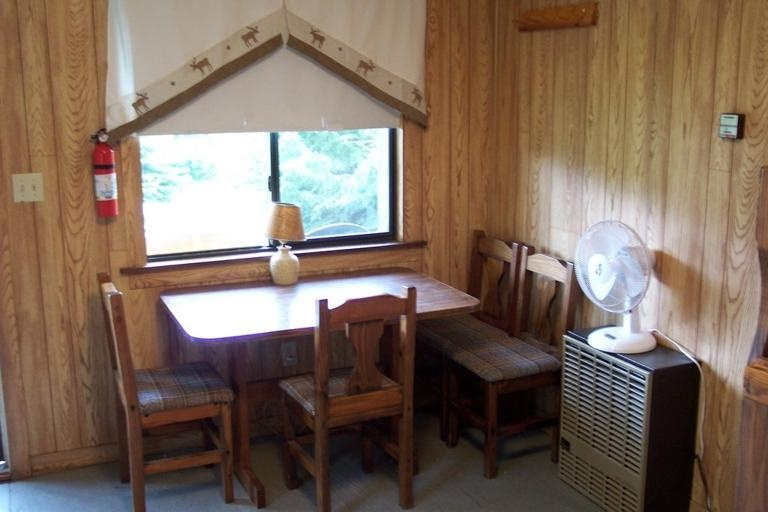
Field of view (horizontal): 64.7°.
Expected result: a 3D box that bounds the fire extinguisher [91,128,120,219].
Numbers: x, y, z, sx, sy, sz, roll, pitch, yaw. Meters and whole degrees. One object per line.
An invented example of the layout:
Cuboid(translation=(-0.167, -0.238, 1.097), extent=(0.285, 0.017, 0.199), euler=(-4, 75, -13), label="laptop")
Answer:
Cuboid(translation=(-1.645, -0.478, 3.584), extent=(0.153, 0.529, 0.118), euler=(-9, 15, -23), label="fire extinguisher")

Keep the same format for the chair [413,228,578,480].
Cuboid(translation=(0.744, 0.675, 3.944), extent=(0.819, 1.467, 1.312), euler=(-3, 11, -25), label="chair")

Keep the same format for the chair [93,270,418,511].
Cuboid(translation=(-1.244, 0.689, 4.598), extent=(1.478, 2.488, 1.522), euler=(-4, 12, -25), label="chair")
